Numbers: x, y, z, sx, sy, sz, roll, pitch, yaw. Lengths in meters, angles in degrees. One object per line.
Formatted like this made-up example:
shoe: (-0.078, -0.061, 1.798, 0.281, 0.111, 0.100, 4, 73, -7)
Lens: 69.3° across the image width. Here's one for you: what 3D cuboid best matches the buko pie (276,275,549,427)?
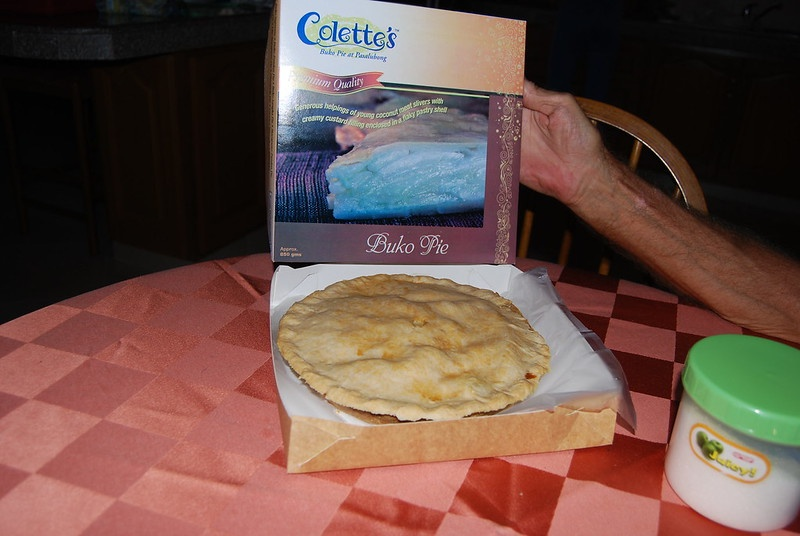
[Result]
buko pie: (0.022, 0.150, 1.027, 0.293, 0.044, 0.294, 14, 26, 14)
